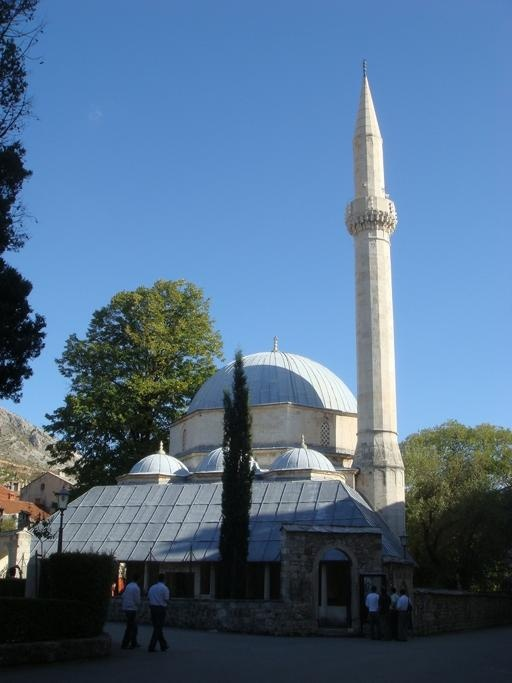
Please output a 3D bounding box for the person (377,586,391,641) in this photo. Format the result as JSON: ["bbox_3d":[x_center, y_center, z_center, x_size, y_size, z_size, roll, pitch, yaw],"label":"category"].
[{"bbox_3d":[2.934,6.206,21.164,0.249,1.126,0.570,1,-19,7],"label":"person"}]

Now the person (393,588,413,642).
[{"bbox_3d":[3.397,6.369,21.470,0.355,1.077,1.279,-1,-19,10],"label":"person"}]
